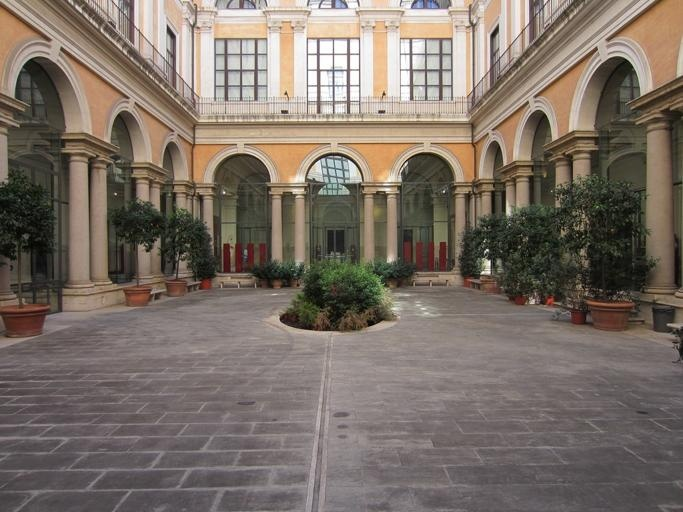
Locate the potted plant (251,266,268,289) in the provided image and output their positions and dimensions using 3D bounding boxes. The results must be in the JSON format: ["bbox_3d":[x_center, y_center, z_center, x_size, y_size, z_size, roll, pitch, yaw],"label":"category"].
[{"bbox_3d":[-3.415,0.889,22.118,0.815,0.920,0.871,-2,-1,24],"label":"potted plant"}]

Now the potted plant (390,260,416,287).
[{"bbox_3d":[2.612,0.744,21.975,1.007,1.084,1.056,-1,-2,12],"label":"potted plant"}]

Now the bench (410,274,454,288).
[{"bbox_3d":[4.073,1.017,22.865,1.699,0.466,0.578,1,9,10],"label":"bench"}]

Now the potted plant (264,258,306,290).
[{"bbox_3d":[-2.449,0.780,21.767,1.707,1.048,1.035,-1,9,-2],"label":"potted plant"}]
